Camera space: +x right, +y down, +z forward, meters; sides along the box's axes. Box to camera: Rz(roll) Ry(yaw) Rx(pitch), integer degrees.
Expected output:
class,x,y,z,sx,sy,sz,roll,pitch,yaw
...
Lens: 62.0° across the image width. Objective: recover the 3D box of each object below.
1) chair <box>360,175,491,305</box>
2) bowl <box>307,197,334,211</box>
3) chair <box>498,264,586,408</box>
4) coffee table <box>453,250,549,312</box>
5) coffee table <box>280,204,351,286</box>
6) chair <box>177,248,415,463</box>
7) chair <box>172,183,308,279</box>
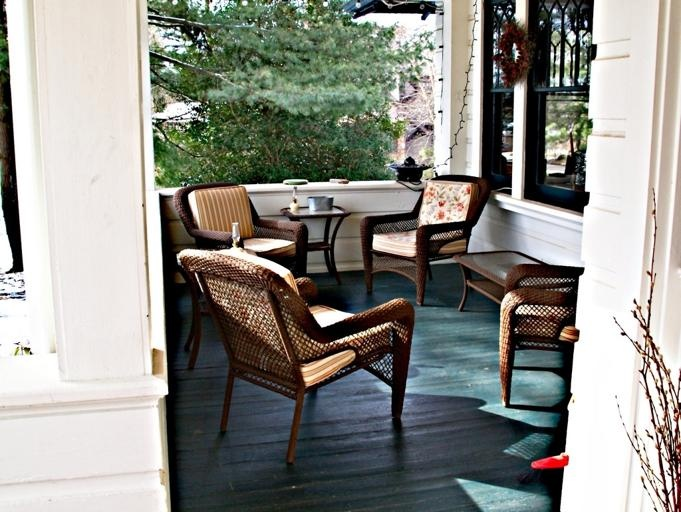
class,x,y,z,sx,sy,sz,roll,pitch,yaw
chair,0.854,-0.222,5.518,1.113,0.947,0.885,-20,21,-39
bowl,-0.200,-0.502,5.813,0.264,0.106,0.155,-1,4,-11
chair,1.191,0.443,3.404,0.420,0.819,0.626,4,18,20
coffee table,1.206,0.188,4.559,0.469,0.321,0.653,9,18,16
coffee table,-0.216,-0.144,6.062,0.928,0.897,0.836,-2,10,-9
chair,-0.252,0.454,3.049,0.876,0.867,1.039,6,7,40
chair,-0.933,-0.168,5.296,0.960,0.863,0.870,16,22,38
